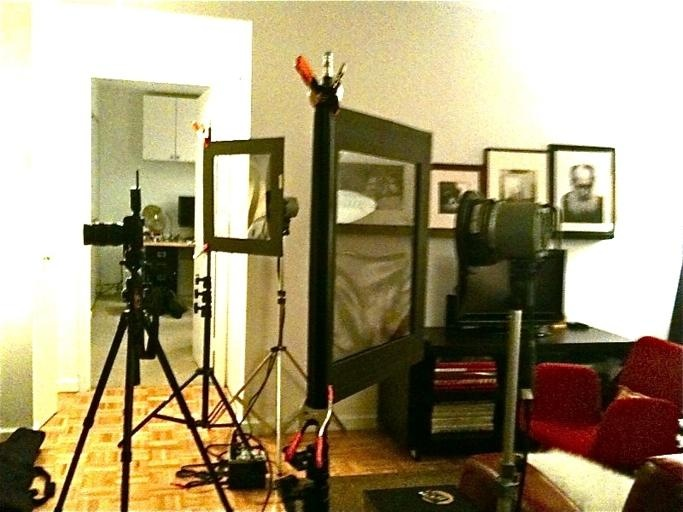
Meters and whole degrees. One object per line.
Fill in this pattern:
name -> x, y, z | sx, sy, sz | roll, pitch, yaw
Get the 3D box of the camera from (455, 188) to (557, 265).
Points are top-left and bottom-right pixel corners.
camera -> 0.602, -0.094, 2.401 | 0.294, 0.258, 0.269 | 6, -21, 25

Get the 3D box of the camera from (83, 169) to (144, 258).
camera -> -1.068, -0.169, 3.008 | 0.288, 0.345, 0.137 | -3, 9, -38

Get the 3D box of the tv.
tv -> 1.052, 0.191, 4.074 | 0.089, 0.446, 0.814 | 7, -8, -43

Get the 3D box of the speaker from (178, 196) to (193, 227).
speaker -> -1.803, -0.513, 7.565 | 0.169, 0.356, 0.084 | -1, 4, -22

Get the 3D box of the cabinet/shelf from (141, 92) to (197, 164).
cabinet/shelf -> -1.827, -1.316, 6.871 | 0.688, 0.662, 0.252 | -4, 12, -42

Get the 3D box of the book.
book -> 0.720, 0.818, 3.900 | 0.556, 0.425, 0.303 | 0, 2, -6

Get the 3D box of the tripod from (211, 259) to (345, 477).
tripod -> -0.329, 0.495, 3.895 | 0.764, 0.906, 0.692 | 3, -5, -13
